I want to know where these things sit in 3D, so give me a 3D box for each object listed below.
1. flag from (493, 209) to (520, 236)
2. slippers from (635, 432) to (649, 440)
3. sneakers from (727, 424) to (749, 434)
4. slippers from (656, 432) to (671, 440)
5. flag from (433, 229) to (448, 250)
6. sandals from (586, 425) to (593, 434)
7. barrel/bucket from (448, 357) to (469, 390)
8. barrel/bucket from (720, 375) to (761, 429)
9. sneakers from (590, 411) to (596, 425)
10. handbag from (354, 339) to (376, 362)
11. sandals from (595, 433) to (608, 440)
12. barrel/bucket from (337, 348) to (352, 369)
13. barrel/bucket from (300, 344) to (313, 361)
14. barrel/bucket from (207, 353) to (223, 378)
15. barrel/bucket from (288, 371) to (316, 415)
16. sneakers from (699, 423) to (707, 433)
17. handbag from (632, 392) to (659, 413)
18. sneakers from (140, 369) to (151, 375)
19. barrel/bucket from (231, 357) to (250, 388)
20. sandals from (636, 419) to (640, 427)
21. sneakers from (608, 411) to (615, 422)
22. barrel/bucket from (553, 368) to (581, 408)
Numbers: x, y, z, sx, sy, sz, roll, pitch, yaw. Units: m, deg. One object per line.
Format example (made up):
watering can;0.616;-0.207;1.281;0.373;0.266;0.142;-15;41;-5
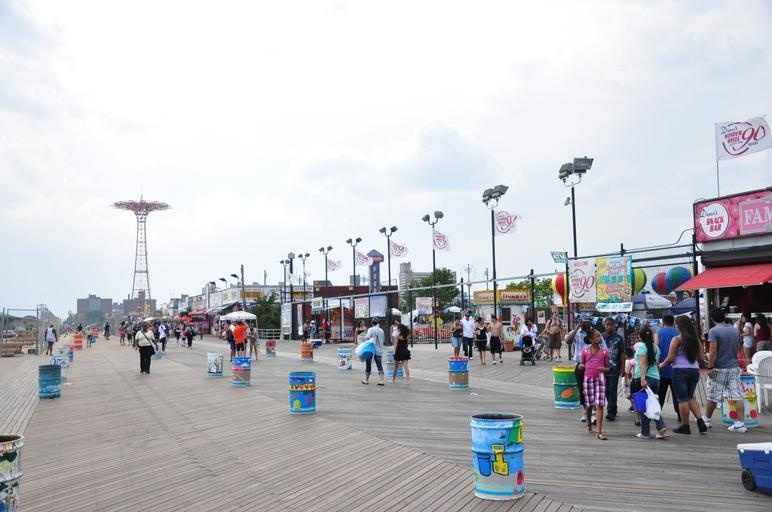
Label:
flag;6.395;-1.765;34.354;0.895;1.744;3.325;-3;-9;7
slippers;5.673;3.980;14.434;0.092;0.119;0.234;8;-3;-31
sneakers;7.991;3.880;14.753;0.445;0.222;0.180;0;-2;27
slippers;6.115;3.966;14.379;0.134;0.173;0.383;1;-8;4
flag;3.498;-0.928;41.391;0.908;1.305;1.233;-2;-8;-1
sandals;4.659;3.965;14.895;0.079;0.105;0.259;0;-13;-3
barrel/bucket;2.402;3.854;21.516;0.667;1.013;0.535;-2;-8;1
barrel/bucket;8.428;3.426;15.428;1.027;1.219;1.076;3;-8;0
sneakers;5.175;4.035;16.241;0.082;0.299;0.215;1;-7;20
handbag;-0.693;3.273;22.783;0.699;0.706;0.550;0;-8;-13
sandals;4.749;3.957;14.306;0.222;0.140;0.222;-5;-9;16
barrel/bucket;-1.945;4.569;28.736;0.856;0.989;0.914;1;-2;0
barrel/bucket;-3.816;4.728;32.091;0.819;0.964;0.833;0;-5;0
barrel/bucket;-6.972;4.417;26.367;0.751;0.904;0.791;0;-9;0
barrel/bucket;-2.291;3.715;17.931;0.932;1.130;0.978;1;-4;0
sneakers;7.112;3.830;14.614;0.150;0.255;0.207;-5;-9;22
handbag;5.629;3.146;14.060;0.426;0.569;0.341;1;-23;9
sneakers;-10.567;5.058;28.442;0.421;0.203;0.159;-1;-7;18
barrel/bucket;-5.346;4.162;23.447;0.812;0.961;0.853;0;-9;0
sandals;5.955;3.938;15.354;0.080;0.147;0.320;-4;-9;12
sneakers;5.580;3.950;16.109;0.234;0.220;0.483;-5;-9;18
barrel/bucket;4.866;3.654;18.065;0.890;1.060;0.953;0;-8;0
